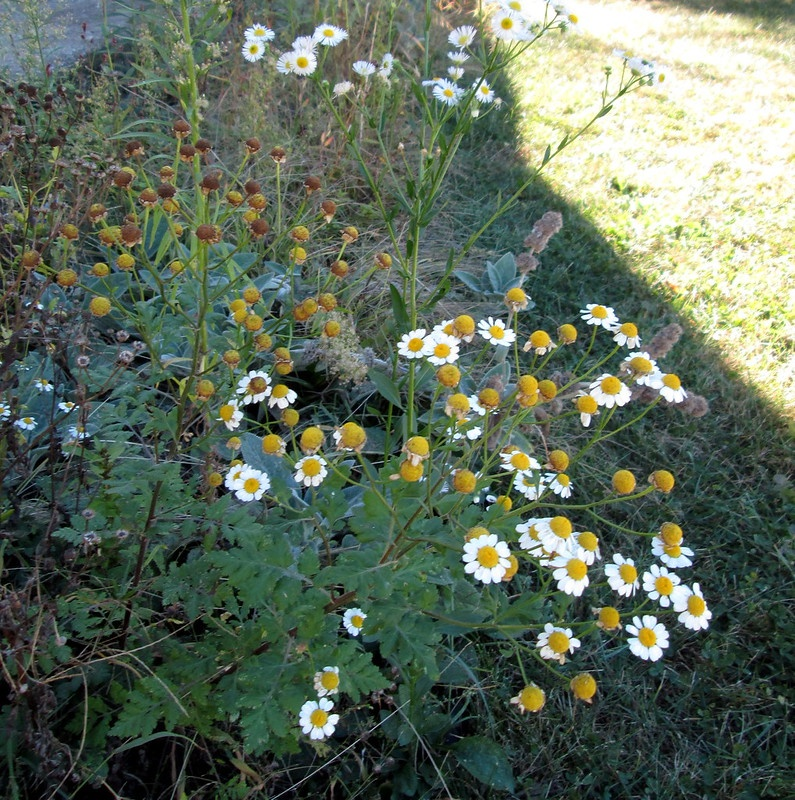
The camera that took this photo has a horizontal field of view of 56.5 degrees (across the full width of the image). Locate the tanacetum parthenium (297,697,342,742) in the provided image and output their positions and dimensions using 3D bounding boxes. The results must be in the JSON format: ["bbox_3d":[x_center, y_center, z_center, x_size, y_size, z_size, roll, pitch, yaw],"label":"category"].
[{"bbox_3d":[-0.187,0.747,1.729,0.124,0.036,0.101,-7,96,-32],"label":"tanacetum parthenium"}]
